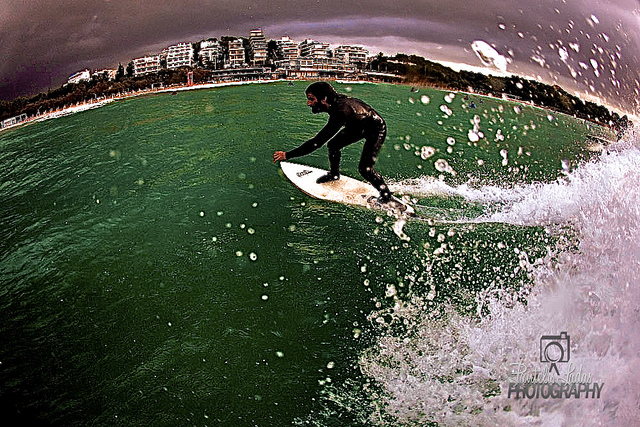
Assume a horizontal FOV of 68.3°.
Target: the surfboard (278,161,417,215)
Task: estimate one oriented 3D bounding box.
[{"bbox_3d":[0.584,-0.458,9.122,3.009,0.339,0.615,12,74,4],"label":"surfboard"}]
